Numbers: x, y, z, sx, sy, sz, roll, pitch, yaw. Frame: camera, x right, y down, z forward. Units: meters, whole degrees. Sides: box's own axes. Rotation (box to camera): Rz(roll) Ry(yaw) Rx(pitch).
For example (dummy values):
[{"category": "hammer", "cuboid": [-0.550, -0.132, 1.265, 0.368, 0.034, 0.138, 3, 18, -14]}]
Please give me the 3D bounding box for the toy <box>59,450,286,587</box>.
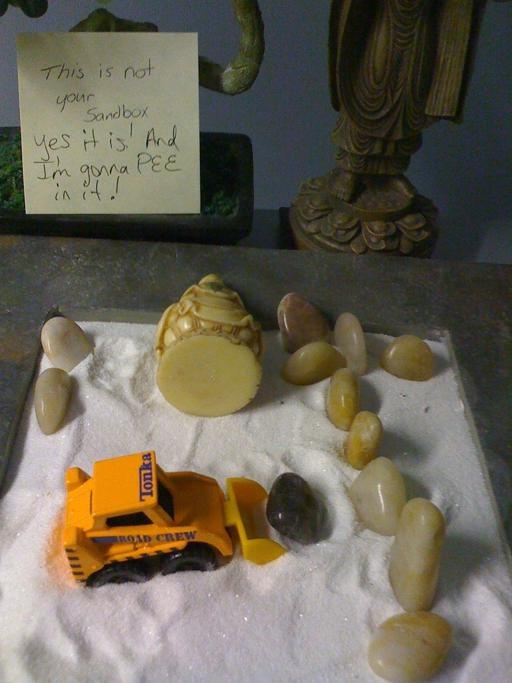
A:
[{"category": "toy", "cuboid": [-0.083, 0.173, 0.639, 0.216, 0.102, 0.085, -4, 38, -9]}]
